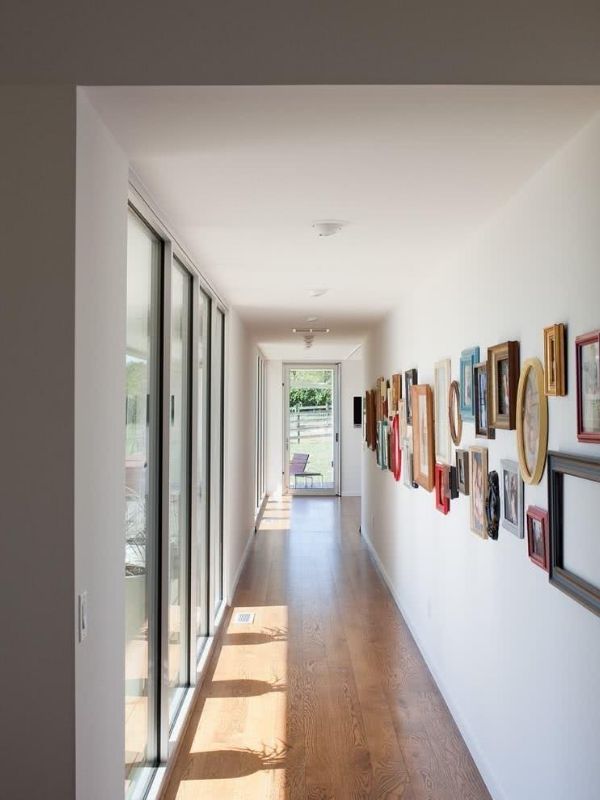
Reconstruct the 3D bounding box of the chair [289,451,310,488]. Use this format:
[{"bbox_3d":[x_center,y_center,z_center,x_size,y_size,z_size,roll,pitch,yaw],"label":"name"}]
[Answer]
[{"bbox_3d":[-0.031,1.211,9.823,0.261,0.688,0.382,1,1,-4],"label":"chair"}]
